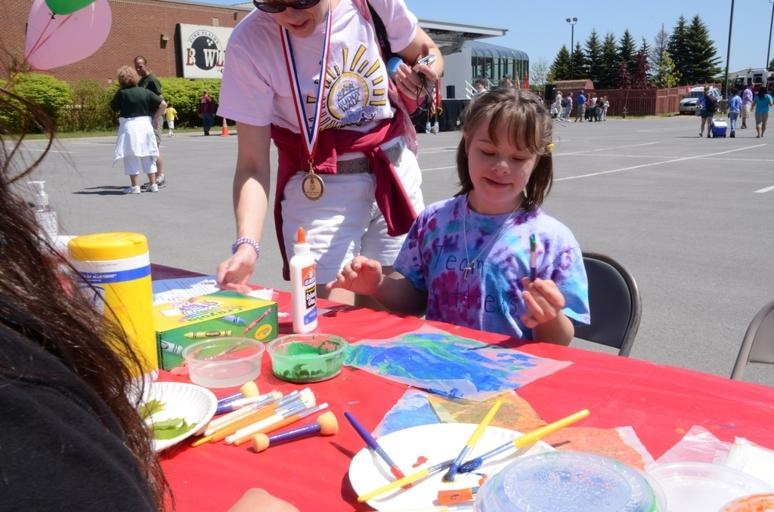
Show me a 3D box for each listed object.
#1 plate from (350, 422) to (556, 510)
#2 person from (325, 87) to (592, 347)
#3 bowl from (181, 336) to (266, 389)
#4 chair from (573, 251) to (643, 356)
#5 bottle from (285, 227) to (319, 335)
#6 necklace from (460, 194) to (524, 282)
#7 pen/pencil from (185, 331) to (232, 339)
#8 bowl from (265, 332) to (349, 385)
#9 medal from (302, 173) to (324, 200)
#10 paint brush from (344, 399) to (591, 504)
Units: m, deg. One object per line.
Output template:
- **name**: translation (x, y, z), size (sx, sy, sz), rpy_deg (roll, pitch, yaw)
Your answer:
- **plate**: translation (0.133, 0.441, 1.195), size (0.425, 0.050, 0.238), rpy_deg (-9, 17, -21)
- **person**: translation (0.388, -0.077, 2.209), size (0.545, 1.367, 0.669), rpy_deg (2, 3, 40)
- **bowl**: translation (-0.476, 0.276, 1.672), size (0.206, 0.132, 0.215), rpy_deg (0, 10, 0)
- **chair**: translation (0.846, 0.181, 2.333), size (0.422, 0.482, 0.225), rpy_deg (3, -9, -11)
- **bottle**: translation (-0.273, 0.081, 1.829), size (0.082, 0.348, 0.105), rpy_deg (0, -1, -4)
- **necklace**: translation (0.385, -0.063, 2.196), size (0.212, 0.290, 0.155), rpy_deg (-1, -16, 7)
- **pen/pencil**: translation (-0.547, 0.240, 1.694), size (0.121, 0.022, 0.020), rpy_deg (0, -16, -32)
- **bowl**: translation (-0.238, 0.301, 1.655), size (0.233, 0.090, 0.233), rpy_deg (1, 8, 0)
- **medal**: translation (-0.302, -0.284, 2.301), size (0.092, 0.119, 0.092), rpy_deg (-4, 16, -7)
- **paint brush**: translation (0.199, 0.443, 1.203), size (0.554, 0.051, 0.183), rpy_deg (-14, 19, -33)
